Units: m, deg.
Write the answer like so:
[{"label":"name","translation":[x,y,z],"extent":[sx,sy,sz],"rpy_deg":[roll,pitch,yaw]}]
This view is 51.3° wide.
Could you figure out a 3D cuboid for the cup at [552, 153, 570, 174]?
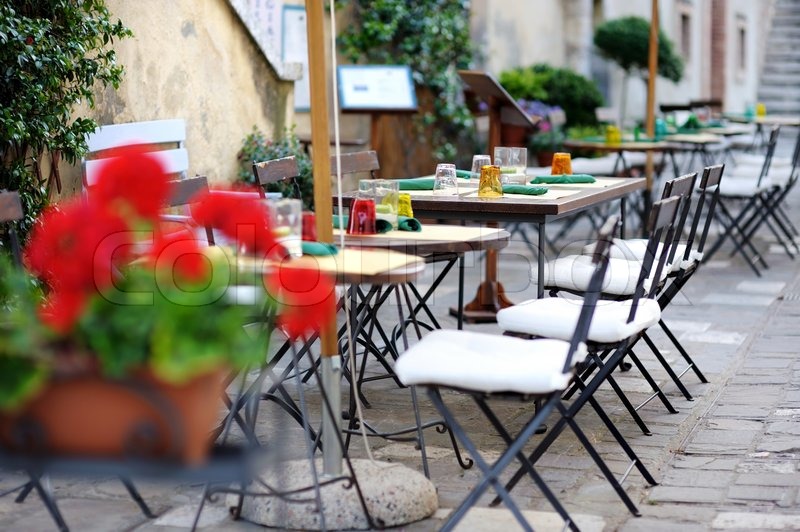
[{"label":"cup","translation":[1.050,-0.691,5.541],"extent":[0.128,0.148,0.131],"rpy_deg":[-1,5,0]}]

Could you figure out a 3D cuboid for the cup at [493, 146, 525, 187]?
[{"label":"cup","translation":[0.692,-0.638,5.190],"extent":[0.206,0.251,0.213],"rpy_deg":[-3,13,1]}]

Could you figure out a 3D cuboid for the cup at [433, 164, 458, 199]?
[{"label":"cup","translation":[0.254,-0.485,4.624],"extent":[0.163,0.211,0.160],"rpy_deg":[-1,5,0]}]

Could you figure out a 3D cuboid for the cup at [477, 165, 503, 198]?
[{"label":"cup","translation":[0.481,-0.462,4.453],"extent":[0.152,0.205,0.143],"rpy_deg":[-1,4,0]}]

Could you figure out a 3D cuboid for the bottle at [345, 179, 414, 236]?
[{"label":"bottle","translation":[-0.085,-0.259,3.667],"extent":[0.282,0.210,0.282],"rpy_deg":[0,6,0]}]

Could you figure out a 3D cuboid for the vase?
[{"label":"vase","translation":[-0.545,0.296,1.602],"extent":[0.239,0.117,0.252],"rpy_deg":[-1,-10,3]}]
